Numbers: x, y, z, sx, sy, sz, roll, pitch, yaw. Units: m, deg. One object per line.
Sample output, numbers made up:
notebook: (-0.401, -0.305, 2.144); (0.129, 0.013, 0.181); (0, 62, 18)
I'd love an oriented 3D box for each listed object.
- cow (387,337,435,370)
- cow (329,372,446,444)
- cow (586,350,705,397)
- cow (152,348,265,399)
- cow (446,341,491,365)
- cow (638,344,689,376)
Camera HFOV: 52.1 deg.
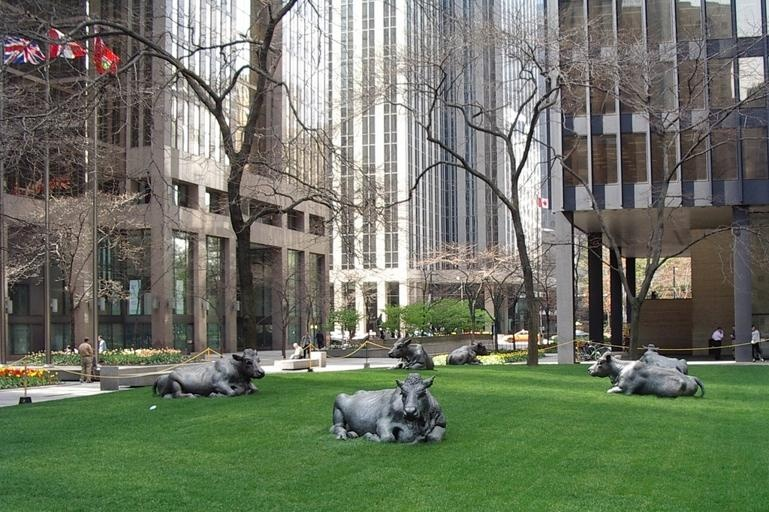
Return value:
cow: (1.267, 4.307, 34.816); (1.993, 1.177, 1.268); (8, -16, -16)
cow: (0.071, 3.656, 19.159); (1.792, 1.012, 2.259); (3, -13, -19)
cow: (8.364, 3.760, 25.637); (3.518, 1.340, 1.381); (-1, -8, 33)
cow: (-5.670, 3.731, 24.910); (3.618, 1.406, 1.416); (-5, 0, -1)
cow: (4.130, 4.787, 39.228); (1.994, 0.906, 1.048); (-1, -3, -16)
cow: (8.777, 3.551, 25.458); (1.611, 0.559, 1.105); (18, 9, 34)
